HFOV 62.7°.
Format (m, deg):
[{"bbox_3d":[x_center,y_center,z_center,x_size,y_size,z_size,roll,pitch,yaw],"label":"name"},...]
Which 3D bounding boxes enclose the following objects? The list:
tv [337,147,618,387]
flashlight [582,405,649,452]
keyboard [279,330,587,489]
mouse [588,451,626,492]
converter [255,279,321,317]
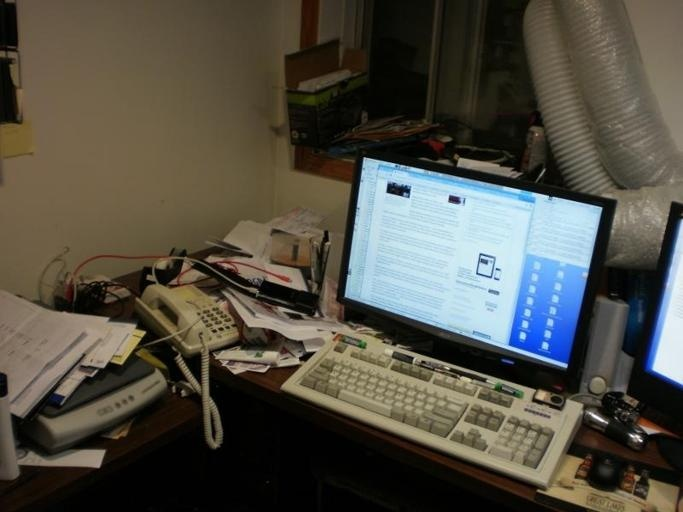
[{"bbox_3d":[0.345,0.055,1.456,0.661,0.544,0.077,12,20,25],"label":"tv"},{"bbox_3d":[0.654,0.412,1.339,0.171,0.058,0.057,27,1,28],"label":"flashlight"},{"bbox_3d":[0.211,0.349,1.366,0.674,0.152,0.247,9,13,23],"label":"keyboard"},{"bbox_3d":[0.565,0.460,1.203,0.072,0.070,0.074,15,-8,-1],"label":"mouse"},{"bbox_3d":[-0.158,0.124,1.598,0.173,0.039,0.086,9,26,6],"label":"converter"}]
